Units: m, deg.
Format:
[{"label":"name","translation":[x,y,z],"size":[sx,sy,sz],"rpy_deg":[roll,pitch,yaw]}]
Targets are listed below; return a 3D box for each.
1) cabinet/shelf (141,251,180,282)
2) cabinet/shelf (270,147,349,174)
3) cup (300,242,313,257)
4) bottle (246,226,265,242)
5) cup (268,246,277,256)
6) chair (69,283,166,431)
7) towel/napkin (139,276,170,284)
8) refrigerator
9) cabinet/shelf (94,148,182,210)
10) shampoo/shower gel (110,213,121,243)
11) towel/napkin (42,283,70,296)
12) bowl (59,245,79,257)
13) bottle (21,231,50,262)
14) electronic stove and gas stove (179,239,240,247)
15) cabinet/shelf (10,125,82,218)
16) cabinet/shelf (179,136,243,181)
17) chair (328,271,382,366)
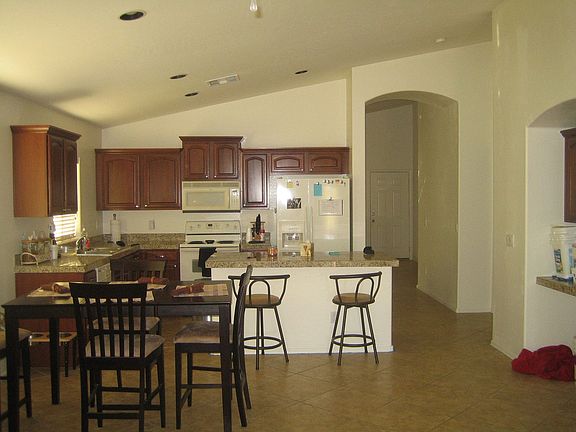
[{"label":"cabinet/shelf","translation":[-1.946,0.764,7.494],"size":[0.577,0.548,0.316],"rpy_deg":[-2,15,8]},{"label":"cabinet/shelf","translation":[0.369,-0.922,7.790],"size":[1.370,0.446,0.406],"rpy_deg":[2,14,20]},{"label":"cup","translation":[0.227,0.388,5.566],"size":[0.155,0.165,0.197],"rpy_deg":[0,6,1]},{"label":"bottle","translation":[-0.529,0.318,7.534],"size":[0.358,0.313,0.164],"rpy_deg":[0,5,-2]},{"label":"cup","translation":[-0.188,0.439,5.702],"size":[0.107,0.134,0.065],"rpy_deg":[0,3,3]},{"label":"chair","translation":[-1.449,1.144,4.095],"size":[0.717,1.352,1.021],"rpy_deg":[-2,6,-19]},{"label":"towel/napkin","translation":[-1.274,0.613,4.462],"size":[0.176,0.045,0.147],"rpy_deg":[2,3,-15]},{"label":"refrigerator","translation":[0.405,-0.026,7.263],"size":[1.116,1.667,0.699],"rpy_deg":[0,0,-2]},{"label":"cabinet/shelf","translation":[-2.346,-0.548,7.696],"size":[1.364,1.010,0.496],"rpy_deg":[-1,-3,-3]},{"label":"shampoo/shower gel","translation":[-2.825,0.197,7.711],"size":[0.161,0.432,0.376],"rpy_deg":[-3,7,-21]},{"label":"towel/napkin","translation":[-2.114,0.673,4.280],"size":[0.160,0.078,0.292],"rpy_deg":[6,-3,-30]},{"label":"bowl","translation":[-2.923,0.468,6.241],"size":[0.192,0.082,0.171],"rpy_deg":[-1,2,-25]},{"label":"bottle","translation":[-3.039,0.377,5.628],"size":[0.123,0.239,0.355],"rpy_deg":[0,3,-6]},{"label":"electronic stove and gas stove","translation":[-1.220,0.431,7.478],"size":[0.829,0.072,0.285],"rpy_deg":[-1,6,-6]},{"label":"cabinet/shelf","translation":[-2.830,-0.525,5.610],"size":[0.410,1.047,0.776],"rpy_deg":[3,7,25]},{"label":"cabinet/shelf","translation":[-1.218,-0.908,7.467],"size":[0.926,0.682,0.239],"rpy_deg":[-2,6,-12]},{"label":"chair","translation":[0.755,1.105,5.323],"size":[0.594,1.036,0.719],"rpy_deg":[1,6,12]}]
